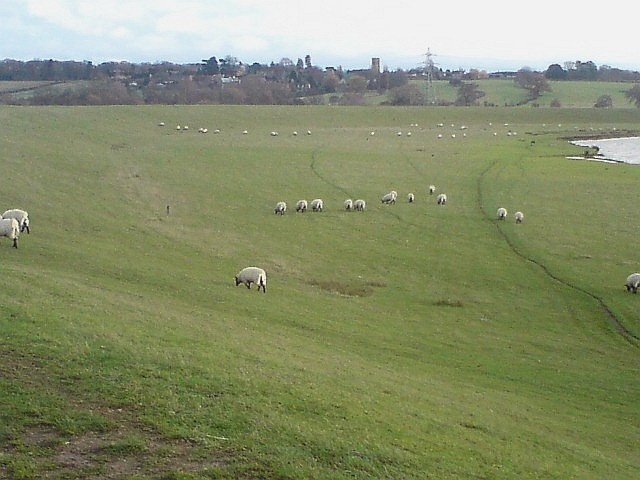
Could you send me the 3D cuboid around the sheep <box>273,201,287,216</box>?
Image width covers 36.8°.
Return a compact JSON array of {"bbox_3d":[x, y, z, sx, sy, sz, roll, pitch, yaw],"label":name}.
[{"bbox_3d":[-4.011,-3.421,99.397,1.273,1.098,3.114,4,11,-1],"label":"sheep"}]
